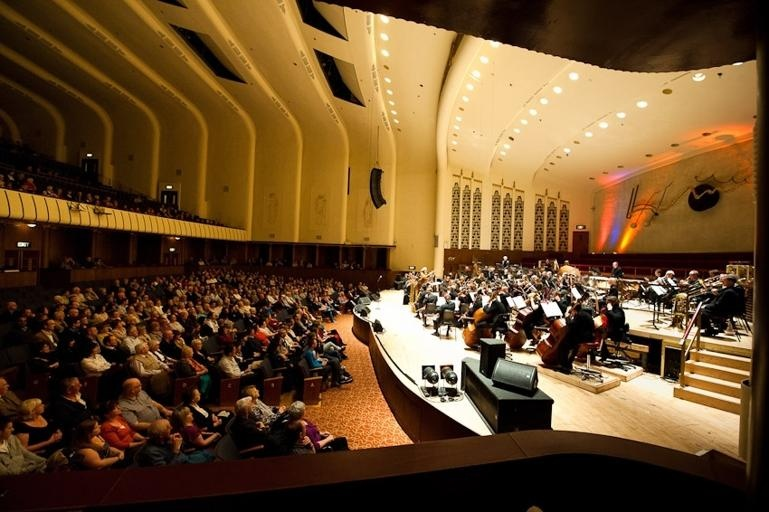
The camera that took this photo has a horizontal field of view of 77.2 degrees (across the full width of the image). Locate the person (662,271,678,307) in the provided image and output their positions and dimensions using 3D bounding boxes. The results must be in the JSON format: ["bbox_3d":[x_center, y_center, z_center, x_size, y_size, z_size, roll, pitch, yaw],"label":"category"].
[{"bbox_3d":[8.848,0.979,14.821,0.317,1.111,0.800,0,-7,44],"label":"person"}]

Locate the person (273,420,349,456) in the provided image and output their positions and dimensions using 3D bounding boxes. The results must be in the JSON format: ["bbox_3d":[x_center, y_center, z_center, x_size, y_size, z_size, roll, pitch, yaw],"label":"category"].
[{"bbox_3d":[-1.569,3.654,9.819,1.397,0.682,0.691,4,-1,-36],"label":"person"}]

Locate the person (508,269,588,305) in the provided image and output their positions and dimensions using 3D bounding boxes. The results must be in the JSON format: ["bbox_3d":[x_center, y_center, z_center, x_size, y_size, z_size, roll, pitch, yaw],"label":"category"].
[{"bbox_3d":[5.282,1.034,15.440,2.013,0.807,1.496,-1,0,-2],"label":"person"}]

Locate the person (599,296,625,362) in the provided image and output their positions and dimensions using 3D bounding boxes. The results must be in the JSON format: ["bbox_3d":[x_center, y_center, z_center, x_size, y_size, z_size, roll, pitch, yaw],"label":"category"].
[{"bbox_3d":[6.028,1.764,12.533,0.640,1.080,1.185,2,-1,26],"label":"person"}]

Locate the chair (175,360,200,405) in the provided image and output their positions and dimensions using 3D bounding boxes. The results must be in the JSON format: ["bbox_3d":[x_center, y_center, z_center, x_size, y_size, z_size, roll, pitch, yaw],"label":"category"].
[{"bbox_3d":[-4.629,2.999,11.236,0.500,0.717,0.999,1,5,-10],"label":"chair"}]

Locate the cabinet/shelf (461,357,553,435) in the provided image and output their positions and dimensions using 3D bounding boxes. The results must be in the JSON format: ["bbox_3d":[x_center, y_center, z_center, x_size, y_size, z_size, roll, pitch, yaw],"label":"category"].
[{"bbox_3d":[2.697,2.456,10.068,1.137,1.061,2.264,2,8,-8],"label":"cabinet/shelf"}]

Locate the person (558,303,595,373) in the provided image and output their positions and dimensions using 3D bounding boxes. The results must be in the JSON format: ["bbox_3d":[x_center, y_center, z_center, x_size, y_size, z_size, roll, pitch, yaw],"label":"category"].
[{"bbox_3d":[4.745,1.998,11.818,0.519,1.648,0.843,5,28,29],"label":"person"}]

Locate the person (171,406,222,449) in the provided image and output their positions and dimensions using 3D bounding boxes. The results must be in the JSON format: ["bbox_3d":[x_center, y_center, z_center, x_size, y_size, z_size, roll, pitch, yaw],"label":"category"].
[{"bbox_3d":[-3.957,3.635,10.172,0.663,1.014,0.832,-15,-4,34],"label":"person"}]

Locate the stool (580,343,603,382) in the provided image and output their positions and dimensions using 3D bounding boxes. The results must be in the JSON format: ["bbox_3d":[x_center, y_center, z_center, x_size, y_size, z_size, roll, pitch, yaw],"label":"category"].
[{"bbox_3d":[5.217,2.673,12.176,0.706,0.757,0.749,-2,-6,10],"label":"stool"}]

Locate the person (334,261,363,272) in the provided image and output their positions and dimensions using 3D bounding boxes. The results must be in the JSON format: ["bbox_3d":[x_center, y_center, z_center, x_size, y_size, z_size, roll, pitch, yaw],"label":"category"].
[{"bbox_3d":[-1.996,0.613,27.857,1.547,0.457,1.745,3,-1,-4],"label":"person"}]

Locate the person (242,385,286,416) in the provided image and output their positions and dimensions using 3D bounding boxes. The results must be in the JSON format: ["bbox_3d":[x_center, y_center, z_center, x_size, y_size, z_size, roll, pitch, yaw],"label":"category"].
[{"bbox_3d":[-2.763,3.316,10.957,0.744,0.853,0.560,-17,16,-10],"label":"person"}]

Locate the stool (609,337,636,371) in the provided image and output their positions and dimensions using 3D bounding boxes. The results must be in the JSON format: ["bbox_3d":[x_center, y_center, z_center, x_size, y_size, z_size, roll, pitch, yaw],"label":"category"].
[{"bbox_3d":[6.531,2.722,13.059,0.878,0.890,0.909,-1,-4,11],"label":"stool"}]

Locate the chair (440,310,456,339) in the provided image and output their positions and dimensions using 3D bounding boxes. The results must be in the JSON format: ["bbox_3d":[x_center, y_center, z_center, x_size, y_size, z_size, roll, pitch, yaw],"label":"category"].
[{"bbox_3d":[2.042,2.093,15.009,0.421,0.729,1.334,3,-1,10],"label":"chair"}]

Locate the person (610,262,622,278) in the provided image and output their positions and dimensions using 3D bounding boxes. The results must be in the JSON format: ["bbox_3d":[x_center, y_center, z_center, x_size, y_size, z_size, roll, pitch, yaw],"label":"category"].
[{"bbox_3d":[9.615,0.581,19.798,0.266,0.928,0.418,6,-9,6],"label":"person"}]

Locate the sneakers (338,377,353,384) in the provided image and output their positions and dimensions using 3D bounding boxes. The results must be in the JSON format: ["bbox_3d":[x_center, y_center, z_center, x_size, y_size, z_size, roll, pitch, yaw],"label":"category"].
[{"bbox_3d":[-1.058,3.444,13.274,0.381,0.152,0.137,-2,3,-43],"label":"sneakers"}]

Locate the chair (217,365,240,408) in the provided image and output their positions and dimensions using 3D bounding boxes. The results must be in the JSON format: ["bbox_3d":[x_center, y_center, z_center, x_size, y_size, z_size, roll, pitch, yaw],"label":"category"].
[{"bbox_3d":[-3.821,3.213,11.737,0.549,0.945,0.959,-1,3,-21],"label":"chair"}]

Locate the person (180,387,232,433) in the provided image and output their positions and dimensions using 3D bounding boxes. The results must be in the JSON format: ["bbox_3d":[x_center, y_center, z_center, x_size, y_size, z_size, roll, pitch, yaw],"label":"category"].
[{"bbox_3d":[-3.949,3.456,10.713,0.942,1.056,0.625,-4,-5,-4],"label":"person"}]

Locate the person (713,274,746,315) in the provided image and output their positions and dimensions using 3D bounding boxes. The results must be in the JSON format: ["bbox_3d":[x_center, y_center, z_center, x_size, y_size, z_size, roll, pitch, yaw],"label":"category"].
[{"bbox_3d":[9.305,1.032,12.727,1.436,1.047,0.525,4,-1,-41],"label":"person"}]

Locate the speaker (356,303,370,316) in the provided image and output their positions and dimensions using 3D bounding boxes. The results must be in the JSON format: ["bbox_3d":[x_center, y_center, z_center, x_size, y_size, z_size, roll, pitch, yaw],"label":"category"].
[{"bbox_3d":[-0.748,1.975,17.501,0.370,0.363,0.870,3,-1,-16],"label":"speaker"}]

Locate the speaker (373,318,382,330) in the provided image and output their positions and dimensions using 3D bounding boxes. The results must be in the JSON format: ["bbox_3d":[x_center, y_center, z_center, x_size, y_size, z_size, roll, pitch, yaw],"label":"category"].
[{"bbox_3d":[-0.191,2.161,15.226,0.272,0.311,0.235,-4,5,-9],"label":"speaker"}]

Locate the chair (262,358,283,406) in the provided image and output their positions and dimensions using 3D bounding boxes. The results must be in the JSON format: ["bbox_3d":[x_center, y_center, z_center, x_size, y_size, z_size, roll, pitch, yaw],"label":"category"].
[{"bbox_3d":[-2.791,3.187,11.945,0.384,0.881,1.063,0,3,-11],"label":"chair"}]

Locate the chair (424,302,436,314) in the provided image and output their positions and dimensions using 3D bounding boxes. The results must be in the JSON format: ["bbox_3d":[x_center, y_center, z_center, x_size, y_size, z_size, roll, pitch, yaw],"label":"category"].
[{"bbox_3d":[1.547,1.749,15.844,0.318,0.314,0.328,1,-4,-3],"label":"chair"}]

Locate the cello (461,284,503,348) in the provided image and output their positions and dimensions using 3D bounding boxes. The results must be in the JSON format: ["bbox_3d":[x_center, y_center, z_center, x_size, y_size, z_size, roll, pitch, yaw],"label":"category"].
[{"bbox_3d":[2.821,1.830,13.552,0.879,1.823,0.558,-11,23,-43],"label":"cello"}]
